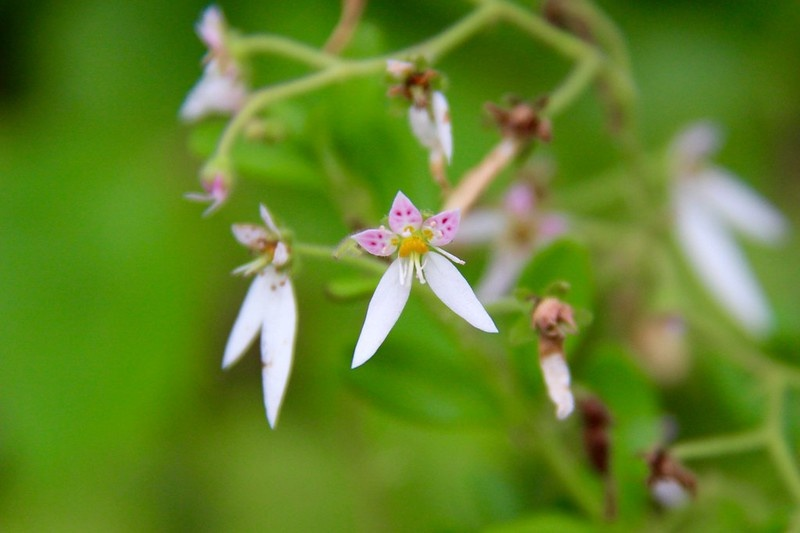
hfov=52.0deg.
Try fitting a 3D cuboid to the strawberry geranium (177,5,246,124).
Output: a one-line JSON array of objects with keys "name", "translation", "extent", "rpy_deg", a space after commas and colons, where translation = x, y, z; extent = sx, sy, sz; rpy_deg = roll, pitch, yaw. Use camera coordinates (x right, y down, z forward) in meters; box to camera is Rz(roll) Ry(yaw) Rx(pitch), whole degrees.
[{"name": "strawberry geranium", "translation": [-0.323, -0.344, 1.456], "extent": [0.108, 0.194, 0.060], "rpy_deg": [22, 25, 25]}]

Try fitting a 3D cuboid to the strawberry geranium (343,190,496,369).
[{"name": "strawberry geranium", "translation": [0.023, 0.003, 1.326], "extent": [0.207, 0.305, 0.104], "rpy_deg": [-14, -5, 21]}]

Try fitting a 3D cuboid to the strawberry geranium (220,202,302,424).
[{"name": "strawberry geranium", "translation": [-0.235, 0.074, 1.394], "extent": [0.110, 0.381, 0.105], "rpy_deg": [2, -5, 0]}]
